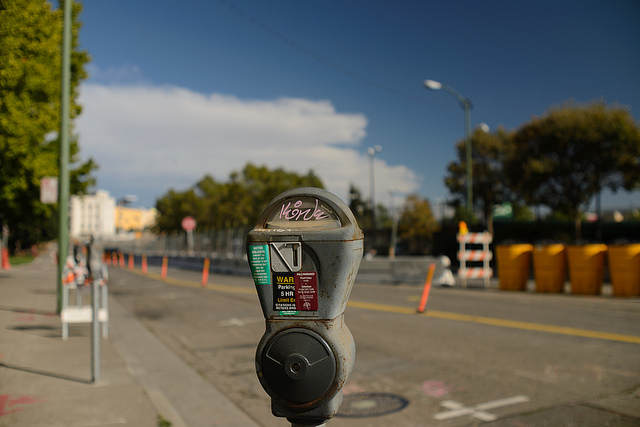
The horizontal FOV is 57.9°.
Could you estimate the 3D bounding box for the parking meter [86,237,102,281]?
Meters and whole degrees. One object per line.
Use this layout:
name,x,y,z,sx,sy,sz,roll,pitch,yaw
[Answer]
parking meter,-3.467,0.702,8.848,0.170,0.673,0.261,-4,-20,-12

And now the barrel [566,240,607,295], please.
barrel,5.890,1.231,12.833,0.854,1.092,0.850,1,-4,0

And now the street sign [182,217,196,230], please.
street sign,-8.484,0.602,37.414,0.853,0.625,1.037,18,5,27

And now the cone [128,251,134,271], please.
cone,-3.725,0.930,11.428,0.119,0.441,0.229,-4,9,-21

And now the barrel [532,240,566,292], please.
barrel,5.486,1.252,13.823,0.459,1.266,0.572,1,-5,-5

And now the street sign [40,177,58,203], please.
street sign,-4.972,-0.438,10.593,0.385,0.621,0.072,4,-3,-23
